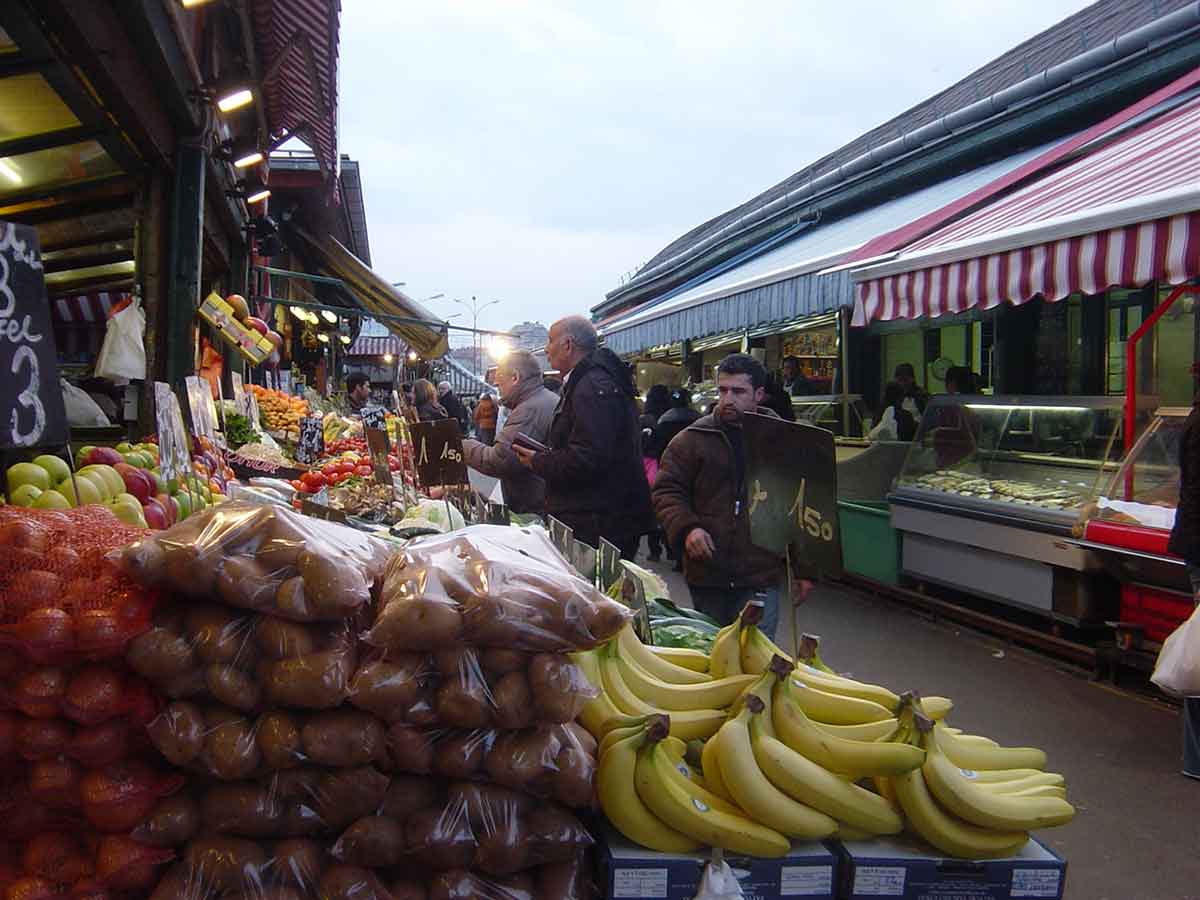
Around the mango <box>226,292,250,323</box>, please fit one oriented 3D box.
[{"bbox_3d":[-3.288,-1.314,8.183,0.246,0.089,0.254,18,-22,39],"label":"mango"}]

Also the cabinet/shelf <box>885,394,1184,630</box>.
[{"bbox_3d":[3.049,0.429,6.307,0.615,1.252,1.672,1,3,-19],"label":"cabinet/shelf"}]
